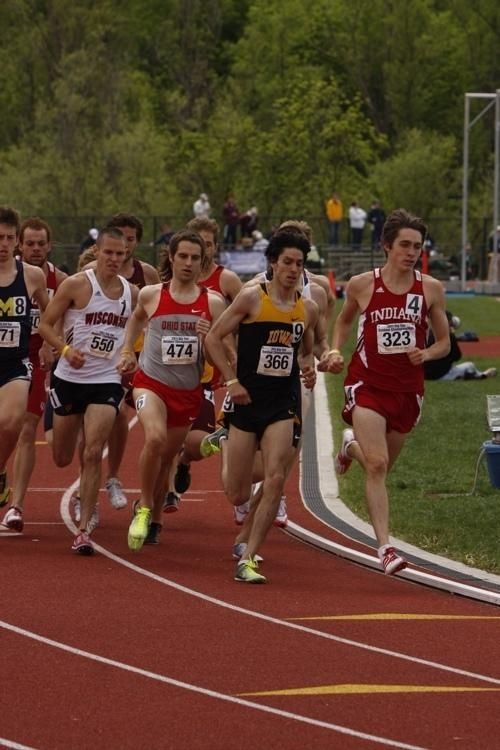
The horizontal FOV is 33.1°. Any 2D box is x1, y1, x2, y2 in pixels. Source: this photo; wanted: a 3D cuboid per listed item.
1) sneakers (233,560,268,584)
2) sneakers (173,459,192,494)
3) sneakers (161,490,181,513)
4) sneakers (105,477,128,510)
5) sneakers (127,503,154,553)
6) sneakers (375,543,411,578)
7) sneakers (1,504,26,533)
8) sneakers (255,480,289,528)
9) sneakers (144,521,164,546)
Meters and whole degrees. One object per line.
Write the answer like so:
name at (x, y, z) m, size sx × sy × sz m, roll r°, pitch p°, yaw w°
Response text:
sneakers at (0.010, 1.099, 4.685) m, size 0.083 × 0.103 × 0.239 m, roll 3°, pitch -7°, yaw -30°
sneakers at (-0.538, 0.809, 6.728) m, size 0.104 × 0.291 × 0.130 m, roll 4°, pitch 27°, yaw -7°
sneakers at (-0.585, 0.945, 6.225) m, size 0.098 × 0.143 × 0.124 m, roll 1°, pitch -1°, yaw -6°
sneakers at (-1.034, 0.948, 6.518) m, size 0.127 × 0.147 × 0.340 m, roll -29°, pitch 39°, yaw 6°
sneakers at (-0.638, 0.913, 5.044) m, size 0.120 × 0.334 × 0.145 m, roll 19°, pitch -42°, yaw -24°
sneakers at (0.738, 0.981, 4.390) m, size 0.093 × 0.106 × 0.244 m, roll -32°, pitch 0°, yaw -10°
sneakers at (-1.601, 0.975, 5.620) m, size 0.156 × 0.171 × 0.384 m, roll 20°, pitch -11°, yaw -10°
sneakers at (0.153, 0.952, 5.802) m, size 0.202 × 0.248 × 0.570 m, roll 0°, pitch -5°, yaw -1°
sneakers at (-0.646, 1.088, 5.691) m, size 0.081 × 0.088 × 0.229 m, roll 2°, pitch 0°, yaw 1°
